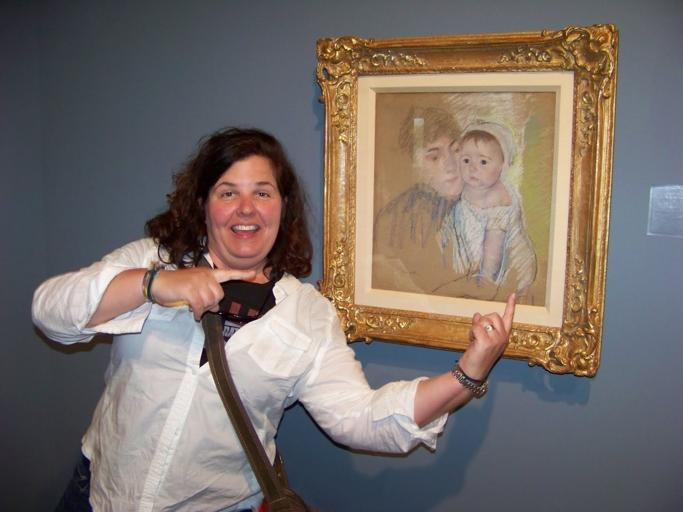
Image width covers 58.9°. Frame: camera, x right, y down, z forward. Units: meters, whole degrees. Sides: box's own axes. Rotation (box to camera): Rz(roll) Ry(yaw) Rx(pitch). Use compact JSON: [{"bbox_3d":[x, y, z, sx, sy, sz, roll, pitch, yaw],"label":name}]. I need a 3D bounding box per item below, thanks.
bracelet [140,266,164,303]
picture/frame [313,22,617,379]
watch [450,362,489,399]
[{"bbox_3d":[-0.495,0.076,1.598,0.029,0.082,0.068,5,7,-8],"label":"bracelet"},{"bbox_3d":[0.387,-0.184,1.763,0.982,1.097,0.090,1,5,24],"label":"picture/frame"},{"bbox_3d":[0.334,0.321,1.571,0.095,0.083,0.035,2,6,-10],"label":"watch"}]
